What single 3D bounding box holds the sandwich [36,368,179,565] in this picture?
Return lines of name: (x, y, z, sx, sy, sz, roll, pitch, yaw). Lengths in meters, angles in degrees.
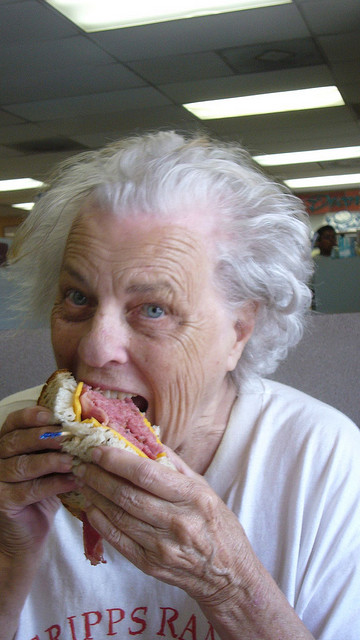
sandwich: (-0.125, 0.315, 0.990, 0.245, 0.422, 0.302, 0, 12, -2)
